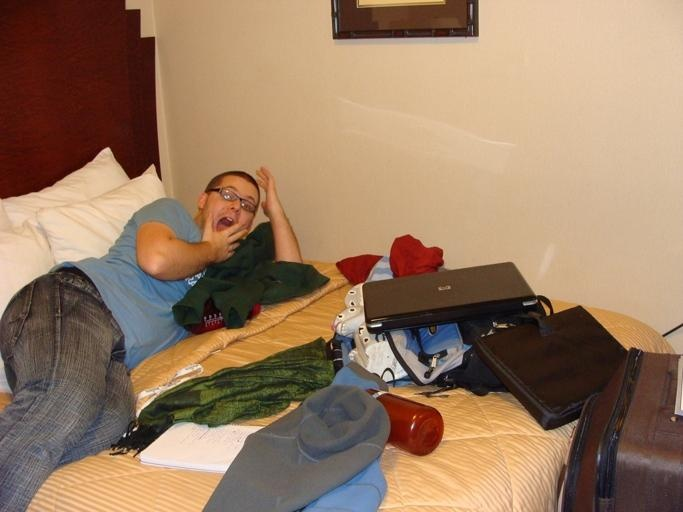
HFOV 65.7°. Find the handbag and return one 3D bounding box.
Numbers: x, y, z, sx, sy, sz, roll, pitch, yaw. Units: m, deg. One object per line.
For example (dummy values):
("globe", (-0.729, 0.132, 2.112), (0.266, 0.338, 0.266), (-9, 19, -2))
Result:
("handbag", (0.654, 0.321, 1.684), (0.365, 0.107, 0.350), (-20, 47, -25))

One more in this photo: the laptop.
("laptop", (0.370, 0.144, 1.842), (0.496, 0.081, 0.268), (-7, 25, -2))

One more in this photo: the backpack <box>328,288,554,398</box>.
("backpack", (0.274, 0.350, 1.794), (0.517, 0.174, 0.381), (-9, 32, 7))
